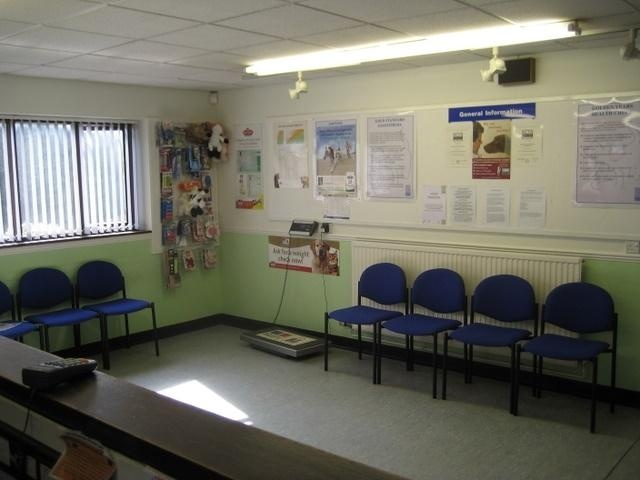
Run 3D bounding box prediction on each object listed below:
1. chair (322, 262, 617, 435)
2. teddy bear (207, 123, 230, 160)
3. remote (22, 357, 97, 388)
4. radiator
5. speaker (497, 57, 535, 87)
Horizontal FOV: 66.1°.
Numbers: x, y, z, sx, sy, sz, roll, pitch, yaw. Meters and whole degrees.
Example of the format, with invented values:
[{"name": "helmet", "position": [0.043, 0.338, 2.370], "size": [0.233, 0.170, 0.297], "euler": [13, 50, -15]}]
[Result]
[{"name": "chair", "position": [1.470, 0.907, 4.698], "size": [2.394, 1.143, 0.764], "euler": [6, 14, 29]}, {"name": "teddy bear", "position": [-1.392, -1.319, 6.652], "size": [0.321, 0.441, 0.153], "euler": [3, 2, -9]}, {"name": "remote", "position": [-1.183, 0.601, 2.249], "size": [0.157, 0.086, 0.328], "euler": [1, -4, 11]}, {"name": "radiator", "position": [1.560, 0.621, 4.894], "size": [2.175, 1.111, 0.691], "euler": [9, 10, 42]}, {"name": "speaker", "position": [1.807, -1.551, 4.517], "size": [0.352, 0.267, 0.116], "euler": [4, 3, 36]}]
